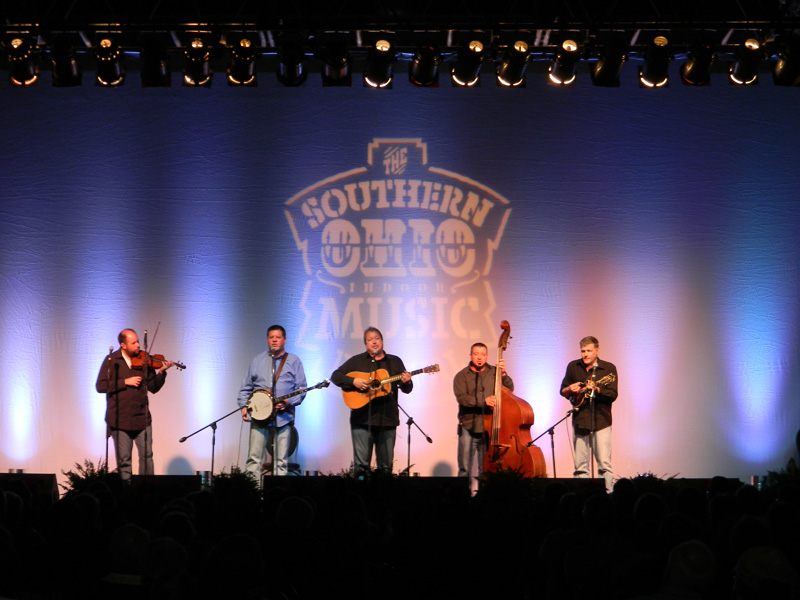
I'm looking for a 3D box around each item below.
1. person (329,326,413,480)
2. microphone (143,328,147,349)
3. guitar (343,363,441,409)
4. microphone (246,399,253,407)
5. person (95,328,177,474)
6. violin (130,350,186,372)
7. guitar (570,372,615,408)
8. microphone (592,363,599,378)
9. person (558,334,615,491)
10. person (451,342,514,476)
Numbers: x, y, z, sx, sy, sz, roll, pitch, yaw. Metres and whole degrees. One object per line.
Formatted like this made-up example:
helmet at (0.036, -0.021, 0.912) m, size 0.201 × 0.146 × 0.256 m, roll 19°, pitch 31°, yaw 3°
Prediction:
person at (-0.346, 1.203, 10.908) m, size 0.905 × 1.786 × 0.711 m, roll 0°, pitch -1°, yaw -7°
microphone at (-3.273, 0.489, 11.565) m, size 0.030 × 0.140 × 0.262 m, roll 5°, pitch 4°, yaw -19°
guitar at (-0.153, 1.033, 10.946) m, size 1.244 × 0.472 × 0.185 m, roll -15°, pitch -16°, yaw 2°
microphone at (-1.873, 1.282, 11.166) m, size 0.036 × 0.111 × 0.089 m, roll 12°, pitch -19°, yaw -38°
person at (-3.237, 1.242, 11.198) m, size 0.730 × 2.159 × 0.848 m, roll -1°, pitch -1°, yaw 36°
violin at (-2.912, 0.737, 10.913) m, size 0.739 × 0.278 × 0.132 m, roll 7°, pitch -20°, yaw -5°
guitar at (2.343, 1.093, 10.858) m, size 0.521 × 0.419 × 0.366 m, roll -4°, pitch -15°, yaw 16°
microphone at (2.374, 0.859, 10.967) m, size 0.050 × 0.161 × 0.097 m, roll -3°, pitch 6°, yaw 27°
person at (2.343, 1.336, 11.105) m, size 0.756 × 1.935 × 0.610 m, roll -1°, pitch -2°, yaw 26°
person at (0.990, 1.331, 10.787) m, size 0.715 × 1.621 × 0.603 m, roll 3°, pitch 0°, yaw 2°
